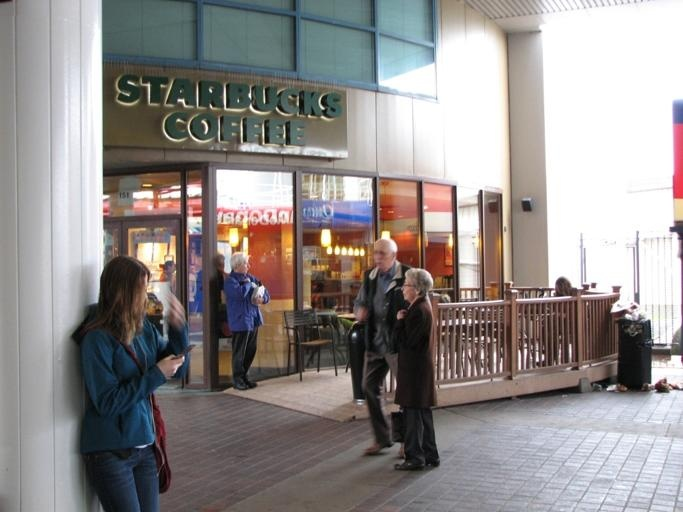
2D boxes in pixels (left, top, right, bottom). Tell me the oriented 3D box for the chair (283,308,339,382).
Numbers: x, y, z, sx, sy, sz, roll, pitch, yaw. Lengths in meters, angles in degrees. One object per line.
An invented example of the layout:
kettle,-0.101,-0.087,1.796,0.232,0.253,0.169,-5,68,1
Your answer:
chair,-0.526,1.411,10.435,0.715,1.090,0.669,-1,-8,-24

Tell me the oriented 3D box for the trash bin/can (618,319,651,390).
trash bin/can,4.707,1.547,10.065,0.497,0.867,0.507,0,0,25

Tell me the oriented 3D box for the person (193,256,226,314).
person,-2.114,0.420,9.951,0.531,0.945,0.160,0,0,-9

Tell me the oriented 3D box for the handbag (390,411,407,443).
handbag,0.593,1.711,6.427,0.161,0.330,0.227,1,-11,13

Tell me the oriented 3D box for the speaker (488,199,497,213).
speaker,3.567,-1.160,14.738,0.225,0.259,0.242,0,-34,8

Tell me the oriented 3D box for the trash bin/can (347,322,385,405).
trash bin/can,0.152,1.179,6.860,0.242,0.843,0.253,-4,-8,20

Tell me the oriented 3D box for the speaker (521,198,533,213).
speaker,4.482,-1.222,15.160,0.268,0.292,0.233,0,0,26

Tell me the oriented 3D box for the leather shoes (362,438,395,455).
leather shoes,0.400,1.983,6.573,0.338,0.168,0.127,-3,-1,-25

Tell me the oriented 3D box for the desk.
desk,2.116,1.174,8.907,2.365,0.962,0.318,-1,0,-35

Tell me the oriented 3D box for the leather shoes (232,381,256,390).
leather shoes,-1.509,1.969,9.681,0.338,0.174,0.132,-3,-4,4

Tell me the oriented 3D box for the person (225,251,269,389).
person,-1.516,0.991,9.677,0.589,2.044,0.368,0,0,-13

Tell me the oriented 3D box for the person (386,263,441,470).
person,0.728,1.086,6.062,0.410,1.718,0.282,0,0,11
